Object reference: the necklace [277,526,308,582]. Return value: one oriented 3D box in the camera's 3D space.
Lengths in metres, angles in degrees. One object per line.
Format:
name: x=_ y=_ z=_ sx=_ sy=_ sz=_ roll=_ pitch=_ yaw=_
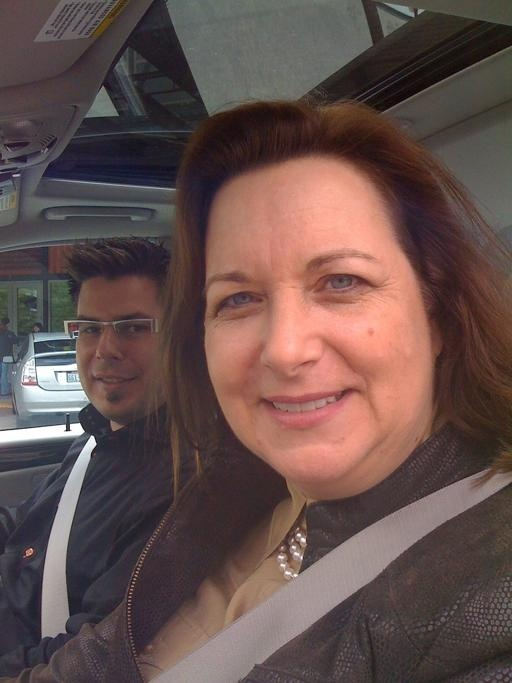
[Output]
necklace: x=0.081 y=0.455 z=1.372 sx=0.099 sy=0.042 sz=0.099 roll=-38 pitch=23 yaw=39
